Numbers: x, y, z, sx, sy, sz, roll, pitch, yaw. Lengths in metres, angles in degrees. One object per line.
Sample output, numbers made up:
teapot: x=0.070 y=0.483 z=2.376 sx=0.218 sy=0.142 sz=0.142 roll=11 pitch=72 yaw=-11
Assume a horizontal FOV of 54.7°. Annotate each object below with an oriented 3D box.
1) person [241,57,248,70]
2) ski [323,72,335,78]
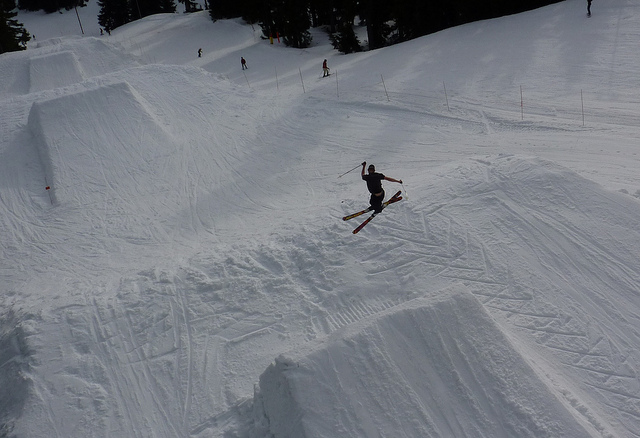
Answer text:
person: x=-5.912 y=-12.221 z=48.583 sx=0.422 sy=0.938 sz=1.542 roll=-12 pitch=29 yaw=-5
ski: x=0.677 y=-9.898 z=42.589 sx=0.226 sy=0.054 sz=0.985 roll=19 pitch=39 yaw=40
